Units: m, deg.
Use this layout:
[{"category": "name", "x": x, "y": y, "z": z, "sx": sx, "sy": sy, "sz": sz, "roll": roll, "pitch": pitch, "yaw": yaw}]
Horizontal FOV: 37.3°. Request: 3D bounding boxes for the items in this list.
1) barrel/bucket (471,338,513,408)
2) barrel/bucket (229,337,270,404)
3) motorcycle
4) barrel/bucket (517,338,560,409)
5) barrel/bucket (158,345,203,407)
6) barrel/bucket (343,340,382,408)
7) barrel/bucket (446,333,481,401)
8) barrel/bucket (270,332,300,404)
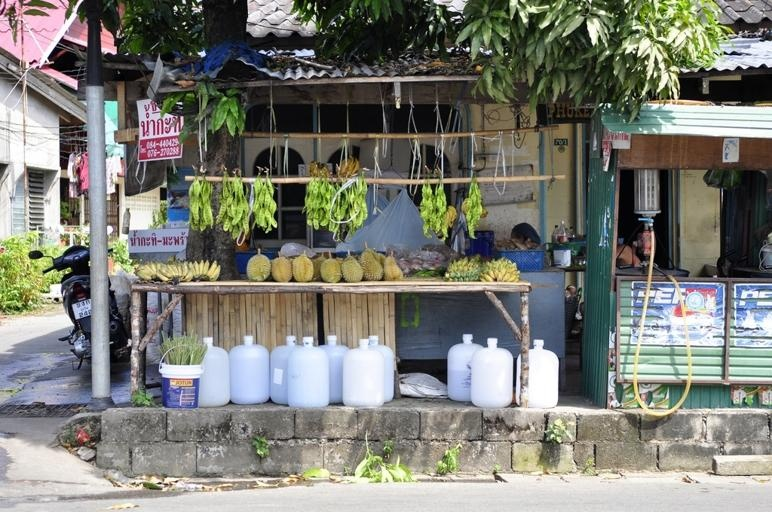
[{"category": "barrel/bucket", "x": 1.280, "y": 1.400, "z": 13.853, "sx": 0.505, "sy": 0.777, "sz": 0.216, "roll": -1, "pitch": 0, "yaw": 0}, {"category": "barrel/bucket", "x": -1.694, "y": 1.397, "z": 14.124, "sx": 0.534, "sy": 0.850, "sz": 0.533, "roll": -2, "pitch": -5, "yaw": 0}, {"category": "motorcycle", "x": -4.219, "y": 0.712, "z": 15.963, "sx": 1.214, "sy": 1.766, "sz": 1.187, "roll": -1, "pitch": 0, "yaw": -9}, {"category": "barrel/bucket", "x": 1.904, "y": 1.458, "z": 14.133, "sx": 0.504, "sy": 0.877, "sz": 0.540, "roll": -1, "pitch": -11, "yaw": 0}, {"category": "barrel/bucket", "x": -2.490, "y": 1.422, "z": 13.850, "sx": 0.507, "sy": 0.770, "sz": 0.477, "roll": 1, "pitch": -3, "yaw": 0}, {"category": "barrel/bucket", "x": -0.280, "y": 1.411, "z": 13.995, "sx": 0.526, "sy": 0.828, "sz": 0.509, "roll": 1, "pitch": -3, "yaw": 0}, {"category": "barrel/bucket", "x": 0.958, "y": 1.358, "z": 14.056, "sx": 0.376, "sy": 0.823, "sz": 0.383, "roll": 1, "pitch": -9, "yaw": 0}, {"category": "barrel/bucket", "x": -1.136, "y": 1.400, "z": 14.090, "sx": 0.462, "sy": 0.809, "sz": 0.486, "roll": 1, "pitch": -4, "yaw": 0}]
